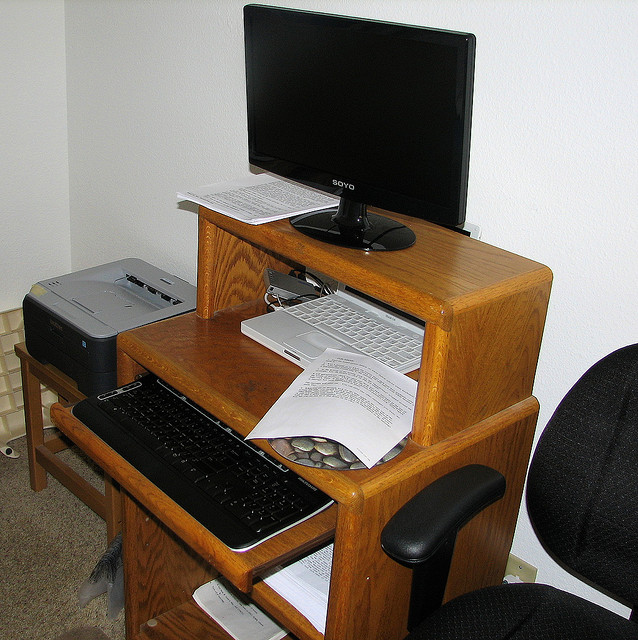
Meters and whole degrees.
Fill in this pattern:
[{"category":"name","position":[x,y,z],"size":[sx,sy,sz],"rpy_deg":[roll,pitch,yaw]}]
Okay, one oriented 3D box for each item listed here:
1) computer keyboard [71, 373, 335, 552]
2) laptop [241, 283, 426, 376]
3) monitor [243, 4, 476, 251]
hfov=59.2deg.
[{"category":"computer keyboard","position":[-0.211,0.211,0.914],"size":[0.481,0.021,0.175],"rpy_deg":[23,30,37]},{"category":"laptop","position":[0.044,0.022,1.078],"size":[0.239,0.077,0.327],"rpy_deg":[-18,32,-40]},{"category":"monitor","position":[0.033,-0.339,0.900],"size":[0.120,0.294,0.458],"rpy_deg":[-15,30,-35]}]
